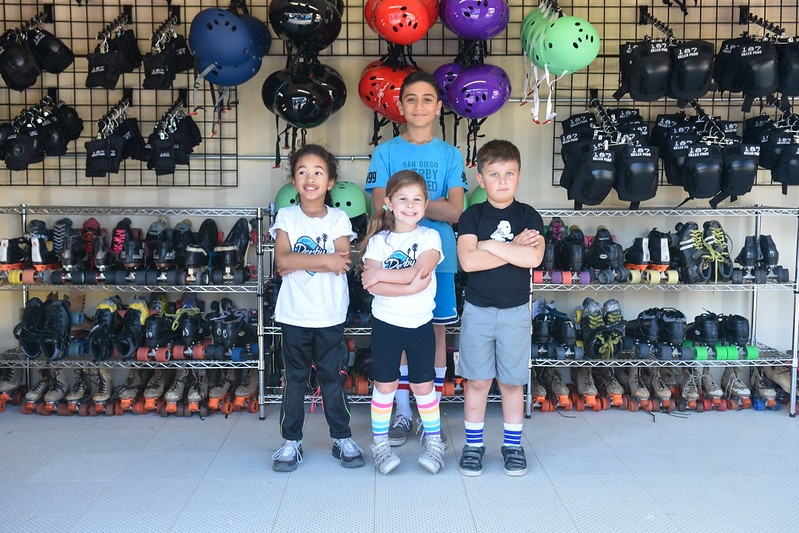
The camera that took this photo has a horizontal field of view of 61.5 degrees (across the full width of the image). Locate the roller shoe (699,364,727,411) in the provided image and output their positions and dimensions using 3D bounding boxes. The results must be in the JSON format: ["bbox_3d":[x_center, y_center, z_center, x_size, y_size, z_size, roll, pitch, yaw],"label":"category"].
[{"bbox_3d":[2.313,0.918,4.973,0.117,0.152,0.357,-5,15,6],"label":"roller shoe"}]

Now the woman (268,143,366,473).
[{"bbox_3d":[-0.517,0.246,4.173,0.514,1.996,0.282,-3,5,-4],"label":"woman"}]

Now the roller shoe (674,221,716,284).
[{"bbox_3d":[2.125,-0.089,4.842,0.163,0.495,0.216,-1,-9,7],"label":"roller shoe"}]

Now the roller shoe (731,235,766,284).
[{"bbox_3d":[2.579,-0.045,4.942,0.178,0.234,0.344,0,8,10],"label":"roller shoe"}]

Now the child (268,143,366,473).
[{"bbox_3d":[-0.517,0.246,4.173,0.514,1.996,0.282,-3,5,-4],"label":"child"}]

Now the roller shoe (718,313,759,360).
[{"bbox_3d":[2.501,0.488,5.096,0.181,0.228,0.500,2,-2,2],"label":"roller shoe"}]

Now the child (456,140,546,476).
[{"bbox_3d":[0.611,0.248,4.110,0.558,2.036,0.296,-2,5,5],"label":"child"}]

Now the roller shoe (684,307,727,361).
[{"bbox_3d":[2.315,0.456,5.107,0.184,0.233,0.556,5,6,13],"label":"roller shoe"}]

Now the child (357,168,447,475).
[{"bbox_3d":[0.028,0.346,4.103,0.484,1.846,0.299,-3,5,-4],"label":"child"}]

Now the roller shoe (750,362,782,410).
[{"bbox_3d":[2.738,0.882,5.040,0.136,0.260,0.407,-2,6,13],"label":"roller shoe"}]
